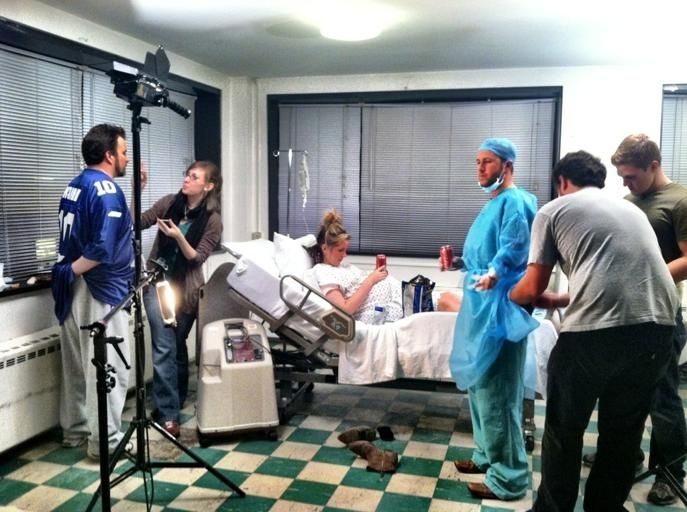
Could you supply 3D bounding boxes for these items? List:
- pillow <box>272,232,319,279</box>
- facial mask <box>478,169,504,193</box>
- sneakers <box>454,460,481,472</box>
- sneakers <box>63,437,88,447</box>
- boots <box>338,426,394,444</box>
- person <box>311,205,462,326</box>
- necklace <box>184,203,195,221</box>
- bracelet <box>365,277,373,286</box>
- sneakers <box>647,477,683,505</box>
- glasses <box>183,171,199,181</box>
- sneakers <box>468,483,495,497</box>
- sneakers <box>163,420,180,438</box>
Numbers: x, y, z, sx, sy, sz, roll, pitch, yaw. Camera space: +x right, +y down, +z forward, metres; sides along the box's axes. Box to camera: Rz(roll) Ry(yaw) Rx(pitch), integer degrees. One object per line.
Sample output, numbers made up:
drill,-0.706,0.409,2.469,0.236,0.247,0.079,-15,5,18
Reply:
pillow,-0.314,-0.023,4.149,0.351,0.333,0.100,8,-25,-41
facial mask,0.876,-0.449,3.258,0.076,0.125,0.124,9,4,3
sneakers,0.764,1.302,3.358,0.170,0.068,0.060,9,12,3
sneakers,-1.786,1.220,3.623,0.125,0.050,0.068,4,35,-28
boots,0.154,1.217,3.724,0.273,0.067,0.146,2,-8,-21
person,0.174,0.085,3.966,0.966,0.667,0.732,9,15,22
necklace,-1.163,-0.330,4.139,0.094,0.098,0.049,4,-6,5
bracelet,0.181,0.173,3.872,0.018,0.038,0.055,15,-14,-20
sneakers,1.691,1.256,2.917,0.085,0.074,0.180,-11,-4,-21
glasses,-1.128,-0.597,4.035,0.116,0.070,0.046,8,13,34
sneakers,0.787,1.342,3.173,0.169,0.056,0.073,11,-5,15
sneakers,-1.189,1.184,3.747,0.113,0.098,0.237,5,-8,-21
